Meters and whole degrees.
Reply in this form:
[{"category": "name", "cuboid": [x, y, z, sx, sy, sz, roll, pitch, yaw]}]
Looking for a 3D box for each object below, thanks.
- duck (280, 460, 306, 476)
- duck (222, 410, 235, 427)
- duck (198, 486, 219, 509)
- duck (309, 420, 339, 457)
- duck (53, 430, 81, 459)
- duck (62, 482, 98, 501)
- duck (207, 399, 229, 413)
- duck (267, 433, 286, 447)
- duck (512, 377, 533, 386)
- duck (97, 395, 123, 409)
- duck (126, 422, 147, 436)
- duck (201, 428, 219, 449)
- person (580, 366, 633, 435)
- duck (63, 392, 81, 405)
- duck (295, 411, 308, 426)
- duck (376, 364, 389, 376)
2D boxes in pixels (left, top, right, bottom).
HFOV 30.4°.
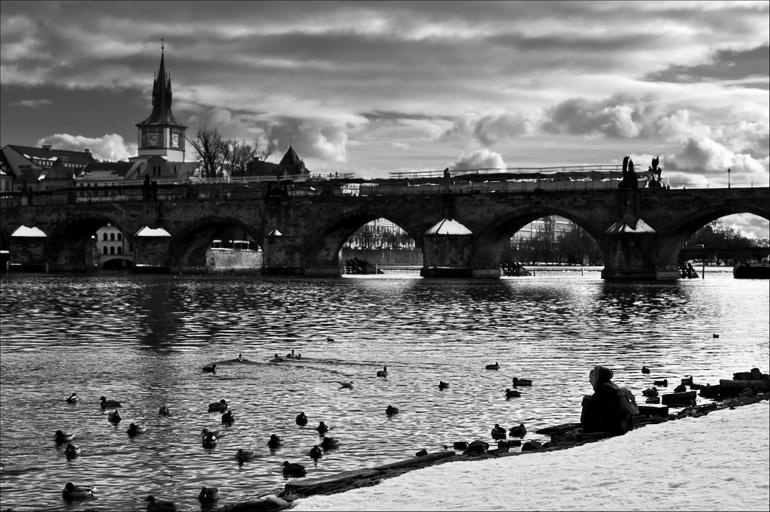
[{"category": "duck", "cuboid": [-1.618, 3.869, 25.875, 0.441, 0.171, 0.351, 0, 0, -3]}, {"category": "duck", "cuboid": [-3.086, 3.237, 28.218, 0.195, 0.198, 0.317, -2, 9, -2]}, {"category": "duck", "cuboid": [-3.076, 4.238, 24.917, 0.251, 0.246, 0.400, 0, -2, -2]}, {"category": "duck", "cuboid": [-1.106, 3.506, 27.093, 0.310, 0.447, 0.732, -6, 4, 10]}, {"category": "duck", "cuboid": [-6.018, 3.585, 26.967, 0.321, 0.422, 0.753, 3, 8, -14]}, {"category": "duck", "cuboid": [-5.358, 4.174, 25.056, 0.536, 0.307, 0.275, 2, -15, 3]}, {"category": "duck", "cuboid": [-3.381, 3.073, 29.128, 0.221, 0.239, 0.400, 1, -2, 37]}, {"category": "duck", "cuboid": [-2.054, 3.520, 27.010, 0.301, 0.168, 0.384, 0, 0, -3]}, {"category": "duck", "cuboid": [3.063, 2.743, 31.182, 0.408, 0.166, 0.634, 0, 0, 5]}, {"category": "duck", "cuboid": [-5.702, 3.047, 29.523, 0.445, 0.252, 0.226, 2, 1, 1]}, {"category": "duck", "cuboid": [-4.831, 3.389, 27.760, 0.365, 0.196, 0.505, 0, 0, -9]}, {"category": "duck", "cuboid": [-3.320, 3.483, 27.087, 0.302, 0.250, 0.438, 0, 0, -7]}, {"category": "person", "cuboid": [4.368, 2.836, 27.833, 1.096, 1.184, 0.936, 0, 3, 16]}, {"category": "duck", "cuboid": [-6.511, 3.018, 29.792, 0.263, 0.099, 0.242, 3, 25, 3]}, {"category": "duck", "cuboid": [-1.635, 3.247, 28.243, 0.198, 0.182, 0.445, 1, -8, -4]}, {"category": "duck", "cuboid": [-0.021, 2.636, 32.153, 0.188, 0.250, 0.276, 3, -10, -9]}]
